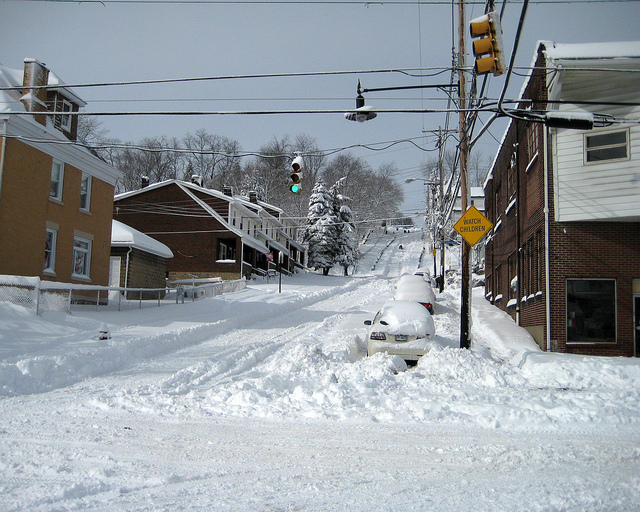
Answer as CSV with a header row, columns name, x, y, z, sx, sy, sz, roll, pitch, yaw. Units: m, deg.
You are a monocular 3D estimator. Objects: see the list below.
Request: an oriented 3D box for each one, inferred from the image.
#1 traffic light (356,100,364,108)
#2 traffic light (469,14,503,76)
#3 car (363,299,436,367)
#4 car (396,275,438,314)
name,x,y,z,sx,sy,sz,roll,pitch,yaw
traffic light,1.120,-4.074,18.128,0.178,0.243,0.412,0,4,0
traffic light,3.680,-4.464,14.502,0.603,1.501,0.446,-11,-16,20
car,2.125,2.083,17.457,1.717,1.238,2.386,1,4,4
car,4.158,1.595,28.652,0.993,0.979,2.720,0,7,7
